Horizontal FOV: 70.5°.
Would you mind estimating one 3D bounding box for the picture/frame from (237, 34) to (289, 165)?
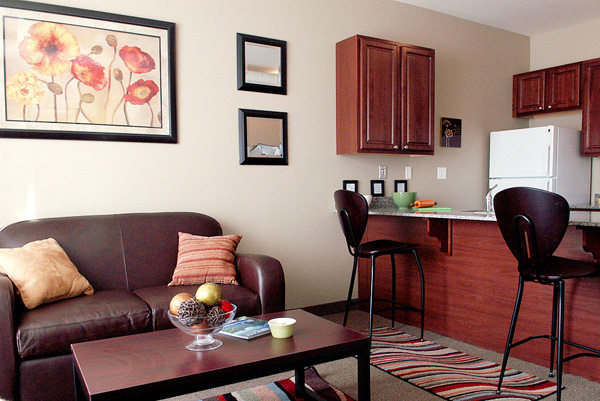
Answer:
[{"bbox_3d":[-0.362,-0.968,4.116,0.487,1.223,0.286,-1,10,-12],"label":"picture/frame"}]

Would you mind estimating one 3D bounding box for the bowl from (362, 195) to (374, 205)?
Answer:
[{"bbox_3d":[0.637,-0.009,3.997,0.064,0.073,0.115,-12,-5,19],"label":"bowl"}]

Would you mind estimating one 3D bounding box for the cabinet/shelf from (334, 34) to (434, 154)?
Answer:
[{"bbox_3d":[0.840,-1.089,4.413,1.355,1.196,0.549,4,-6,-36],"label":"cabinet/shelf"}]

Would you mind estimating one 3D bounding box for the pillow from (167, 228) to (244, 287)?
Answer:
[{"bbox_3d":[-0.783,0.479,3.433,0.460,0.341,0.175,2,-19,-3],"label":"pillow"}]

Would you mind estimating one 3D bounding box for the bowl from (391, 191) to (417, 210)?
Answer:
[{"bbox_3d":[1.026,0.000,4.145,0.192,0.126,0.187,0,-3,0],"label":"bowl"}]
